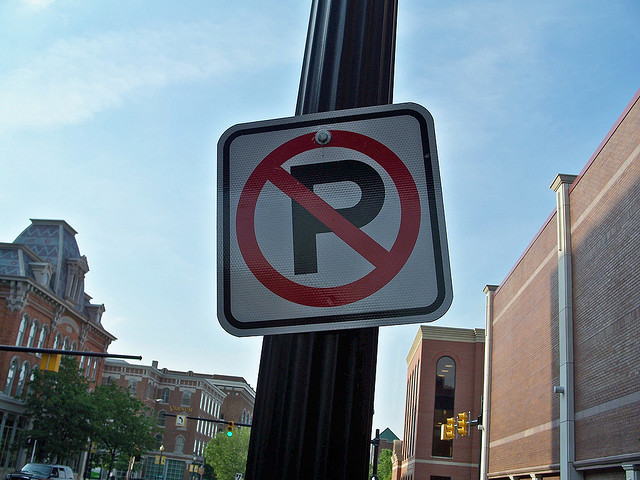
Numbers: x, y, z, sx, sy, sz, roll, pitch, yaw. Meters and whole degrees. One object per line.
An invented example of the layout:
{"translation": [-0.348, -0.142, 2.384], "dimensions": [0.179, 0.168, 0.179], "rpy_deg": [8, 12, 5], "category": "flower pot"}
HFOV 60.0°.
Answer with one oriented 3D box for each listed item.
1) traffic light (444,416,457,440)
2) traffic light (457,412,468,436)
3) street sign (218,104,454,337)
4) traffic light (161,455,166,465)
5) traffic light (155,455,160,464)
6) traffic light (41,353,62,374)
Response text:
{"translation": [5.920, 8.527, 25.339], "dimensions": [0.511, 0.943, 1.942], "rpy_deg": [-1, -23, 13], "category": "traffic light"}
{"translation": [5.867, 7.583, 22.942], "dimensions": [0.386, 0.945, 1.742], "rpy_deg": [-2, -23, 14], "category": "traffic light"}
{"translation": [0.064, -0.050, 2.190], "dimensions": [0.799, 0.885, 0.087], "rpy_deg": [-5, -15, 6], "category": "street sign"}
{"translation": [-23.441, 32.624, 82.593], "dimensions": [0.503, 1.298, 2.005], "rpy_deg": [8, -23, -10], "category": "traffic light"}
{"translation": [-24.634, 32.811, 83.192], "dimensions": [0.434, 1.217, 0.919], "rpy_deg": [15, -24, -28], "category": "traffic light"}
{"translation": [-10.001, 4.458, 20.462], "dimensions": [0.536, 0.625, 1.152], "rpy_deg": [16, -25, -28], "category": "traffic light"}
